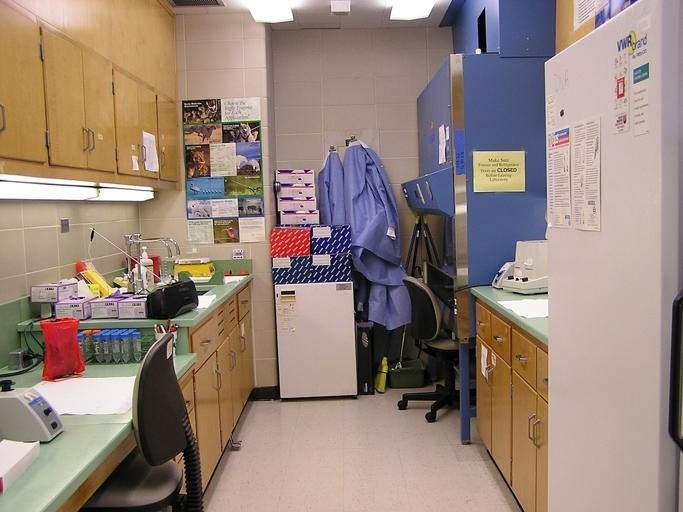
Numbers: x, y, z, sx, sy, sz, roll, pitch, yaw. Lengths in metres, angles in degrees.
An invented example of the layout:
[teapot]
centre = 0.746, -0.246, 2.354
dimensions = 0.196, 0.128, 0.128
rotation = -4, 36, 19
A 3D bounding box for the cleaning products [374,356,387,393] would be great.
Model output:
[cleaning products]
centre = 0.322, 0.964, 4.270
dimensions = 0.105, 0.270, 0.185
rotation = 0, 10, 13

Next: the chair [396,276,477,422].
[chair]
centre = 0.736, 0.638, 3.799
dimensions = 0.592, 0.965, 0.575
rotation = -1, -1, 5

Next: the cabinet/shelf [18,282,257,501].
[cabinet/shelf]
centre = -0.813, 0.678, 2.407
dimensions = 0.622, 0.975, 1.086
rotation = 4, 4, 0

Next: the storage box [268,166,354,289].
[storage box]
centre = -0.247, -0.238, 4.128
dimensions = 0.629, 0.867, 0.401
rotation = -2, 10, 0

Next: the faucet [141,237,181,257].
[faucet]
centre = -1.335, -0.059, 3.842
dimensions = 0.210, 0.072, 0.120
rotation = 8, 7, 18

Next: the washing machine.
[washing machine]
centre = -0.216, 0.606, 4.360
dimensions = 0.615, 0.957, 0.667
rotation = -2, 7, -4
